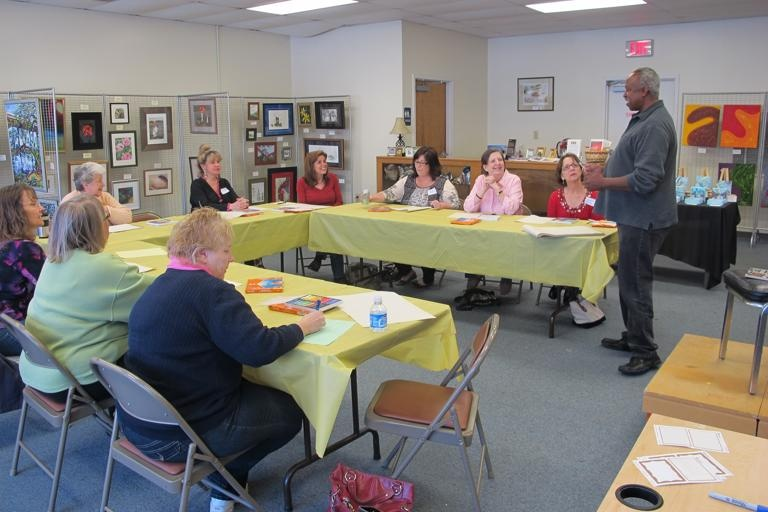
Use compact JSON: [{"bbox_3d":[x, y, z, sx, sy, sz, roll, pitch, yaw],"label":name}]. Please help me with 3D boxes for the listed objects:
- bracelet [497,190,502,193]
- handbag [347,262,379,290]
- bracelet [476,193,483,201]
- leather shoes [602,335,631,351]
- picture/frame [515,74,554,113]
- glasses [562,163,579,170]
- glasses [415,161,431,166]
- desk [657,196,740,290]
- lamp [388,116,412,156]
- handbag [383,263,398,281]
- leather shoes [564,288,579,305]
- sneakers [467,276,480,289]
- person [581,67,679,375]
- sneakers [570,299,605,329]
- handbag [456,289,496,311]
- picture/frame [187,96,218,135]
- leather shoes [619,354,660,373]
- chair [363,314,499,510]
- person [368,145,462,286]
[{"bbox_3d":[1.200,-0.661,5.720,0.029,0.029,0.028,-5,6,-39],"label":"bracelet"},{"bbox_3d":[-0.253,0.223,6.497,0.334,0.297,0.293,4,8,39],"label":"handbag"},{"bbox_3d":[0.993,-0.620,5.800,0.046,0.033,0.063,-10,23,-43],"label":"bracelet"},{"bbox_3d":[1.961,0.727,4.713,0.088,0.147,0.235,-9,14,-44],"label":"leather shoes"},{"bbox_3d":[2.760,-2.941,10.076,0.671,0.586,0.039,9,24,33],"label":"picture/frame"},{"bbox_3d":[1.814,-0.874,5.370,0.097,0.030,0.100,-3,-31,26],"label":"glasses"},{"bbox_3d":[0.430,-1.027,6.164,0.159,0.069,0.077,-1,13,-4],"label":"glasses"},{"bbox_3d":[3.337,-0.217,6.422,1.011,0.734,0.733,6,13,-22],"label":"desk"},{"bbox_3d":[0.246,-1.845,8.540,0.343,0.510,0.350,-4,15,-14],"label":"lamp"},{"bbox_3d":[0.058,0.185,6.379,0.145,0.204,0.206,11,17,34],"label":"handbag"},{"bbox_3d":[1.768,0.386,5.260,0.151,0.133,0.128,4,3,40],"label":"leather shoes"},{"bbox_3d":[0.934,0.283,5.771,0.130,0.085,0.127,-4,6,-41],"label":"sneakers"},{"bbox_3d":[1.891,-0.238,4.233,0.602,2.287,0.432,6,14,25],"label":"person"},{"bbox_3d":[1.865,0.539,5.118,0.253,0.253,0.150,-11,-16,12],"label":"sneakers"},{"bbox_3d":[0.934,0.447,5.645,0.294,0.096,0.254,-2,11,3],"label":"handbag"},{"bbox_3d":[-2.451,-1.895,7.508,0.559,0.526,0.039,9,17,30],"label":"picture/frame"},{"bbox_3d":[1.979,0.825,4.366,0.352,0.169,0.136,-5,5,-17],"label":"leather shoes"},{"bbox_3d":[0.290,0.821,3.139,0.673,1.081,0.756,2,13,12],"label":"chair"},{"bbox_3d":[0.336,-0.467,6.292,1.077,1.484,0.754,1,4,15],"label":"person"}]
